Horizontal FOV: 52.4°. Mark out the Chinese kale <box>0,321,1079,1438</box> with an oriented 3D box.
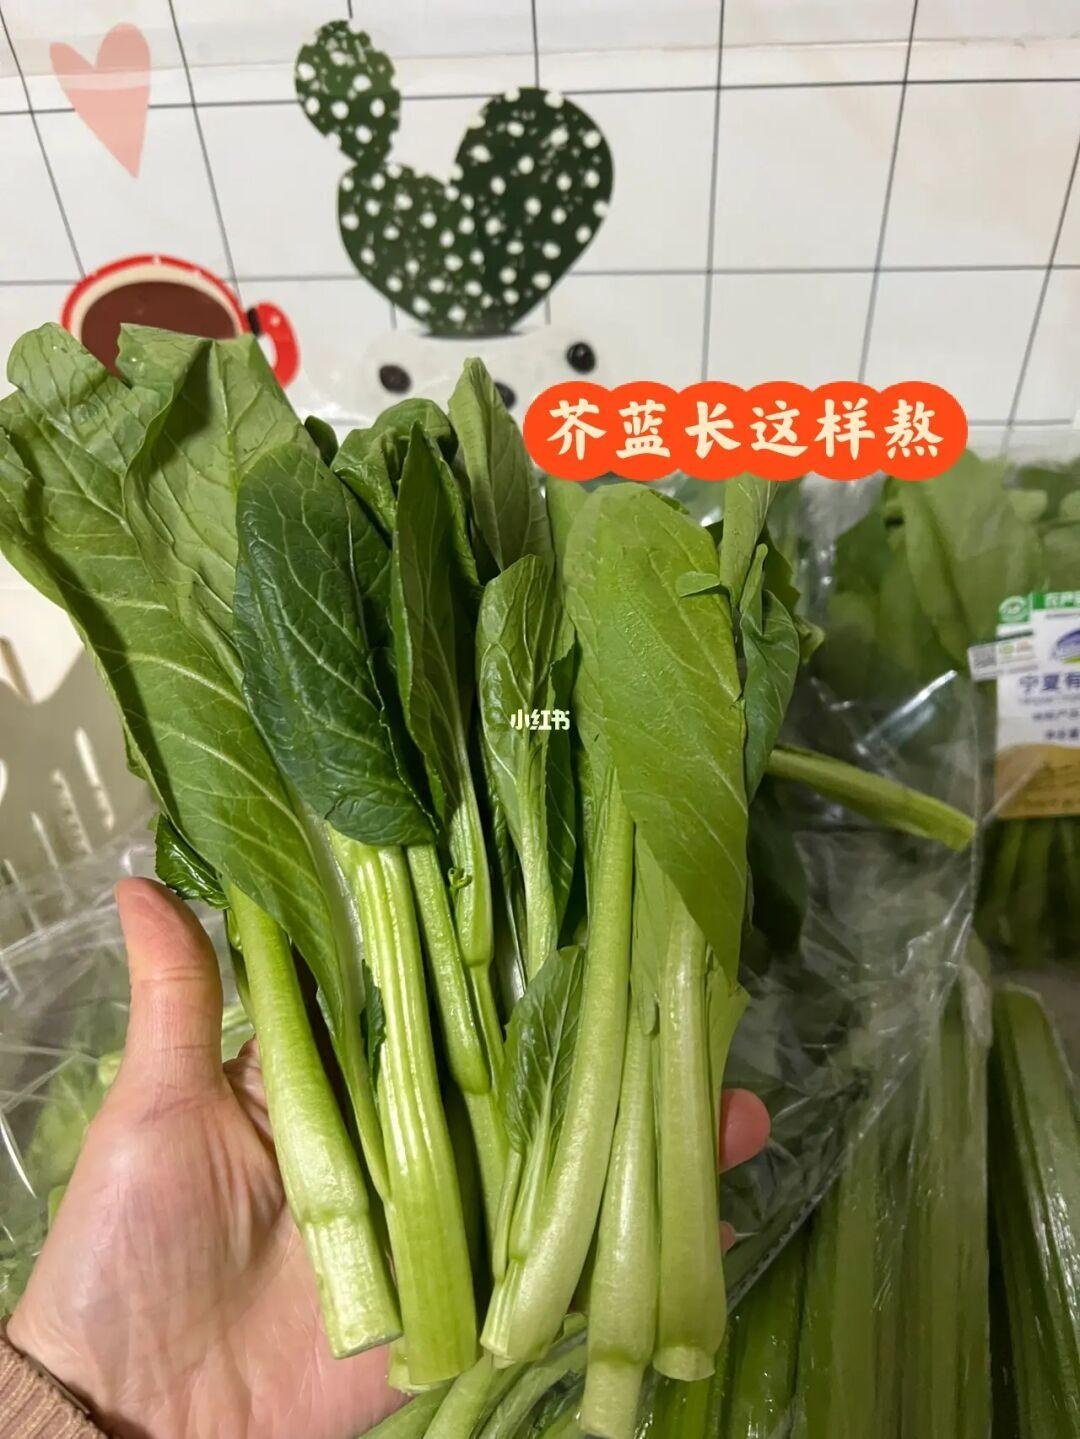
[{"bbox_3d":[-0.083,0.026,0.841,0.526,0.743,0.252,-3,0,-4],"label":"Chinese kale"}]
